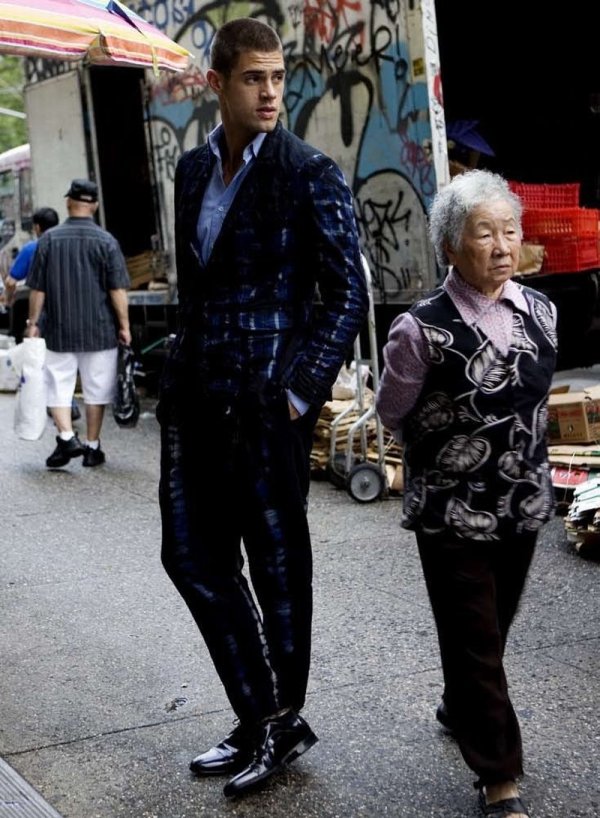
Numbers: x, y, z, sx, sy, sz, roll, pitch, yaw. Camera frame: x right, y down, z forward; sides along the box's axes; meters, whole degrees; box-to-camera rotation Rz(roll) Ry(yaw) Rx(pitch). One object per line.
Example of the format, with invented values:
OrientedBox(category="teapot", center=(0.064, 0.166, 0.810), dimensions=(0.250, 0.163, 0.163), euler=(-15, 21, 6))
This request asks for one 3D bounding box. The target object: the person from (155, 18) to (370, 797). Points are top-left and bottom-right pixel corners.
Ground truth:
OrientedBox(category="person", center=(-0.095, 0.014, 1.966), dimensions=(0.558, 1.879, 0.207), euler=(-4, 6, -1))

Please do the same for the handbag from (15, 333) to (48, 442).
OrientedBox(category="handbag", center=(-2.307, -0.172, 6.813), dimensions=(0.326, 0.895, 0.264), euler=(1, 7, 38))

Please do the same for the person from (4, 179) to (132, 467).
OrientedBox(category="person", center=(-1.886, -0.775, 7.092), dimensions=(0.878, 2.241, 1.162), euler=(-1, 2, -9))

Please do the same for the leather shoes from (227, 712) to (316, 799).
OrientedBox(category="leather shoes", center=(-0.080, 0.867, 2.084), dimensions=(0.312, 0.125, 0.100), euler=(-27, 19, -27))
